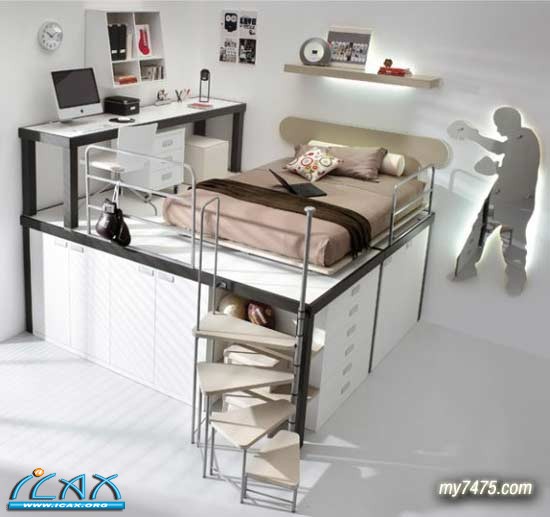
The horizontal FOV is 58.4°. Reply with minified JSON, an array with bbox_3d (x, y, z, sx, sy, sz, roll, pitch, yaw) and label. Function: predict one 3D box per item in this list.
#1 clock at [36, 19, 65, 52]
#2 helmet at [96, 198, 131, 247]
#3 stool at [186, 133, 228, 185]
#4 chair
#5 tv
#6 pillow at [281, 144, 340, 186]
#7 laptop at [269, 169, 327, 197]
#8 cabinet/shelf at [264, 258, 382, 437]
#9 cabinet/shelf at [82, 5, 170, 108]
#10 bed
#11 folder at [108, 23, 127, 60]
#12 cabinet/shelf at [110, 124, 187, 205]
[{"bbox_3d":[-1.722,-1.692,3.731,0.076,0.273,0.279,7,18,19],"label":"clock"},{"bbox_3d":[-1.102,-0.233,3.340,0.145,0.393,0.159,-3,21,32],"label":"helmet"},{"bbox_3d":[-0.708,-1.119,5.300,0.531,0.492,0.527,16,25,34],"label":"stool"},{"bbox_3d":[-1.282,-0.713,4.007,0.582,0.712,0.547,25,39,21],"label":"chair"},{"bbox_3d":[-1.627,-1.312,3.976,0.118,0.373,0.518,8,27,26],"label":"tv"},{"bbox_3d":[0.335,-0.822,4.312,0.373,0.127,0.389,-37,45,-28],"label":"pillow"},{"bbox_3d":[0.207,-0.535,3.821,0.290,0.121,0.290,-12,28,-21],"label":"laptop"},{"bbox_3d":[0.274,0.547,3.069,0.324,0.874,0.959,13,20,28],"label":"cabinet/shelf"},{"bbox_3d":[-1.351,-1.910,4.511,0.255,0.591,0.692,11,27,22],"label":"cabinet/shelf"},{"bbox_3d":[0.480,-0.472,3.763,1.588,0.534,1.648,19,35,29],"label":"bed"},{"bbox_3d":[-1.373,-1.865,4.236,0.178,0.291,0.313,-5,24,-23],"label":"folder"},{"bbox_3d":[-1.113,-0.799,4.202,0.456,0.823,0.623,21,34,28],"label":"cabinet/shelf"}]
